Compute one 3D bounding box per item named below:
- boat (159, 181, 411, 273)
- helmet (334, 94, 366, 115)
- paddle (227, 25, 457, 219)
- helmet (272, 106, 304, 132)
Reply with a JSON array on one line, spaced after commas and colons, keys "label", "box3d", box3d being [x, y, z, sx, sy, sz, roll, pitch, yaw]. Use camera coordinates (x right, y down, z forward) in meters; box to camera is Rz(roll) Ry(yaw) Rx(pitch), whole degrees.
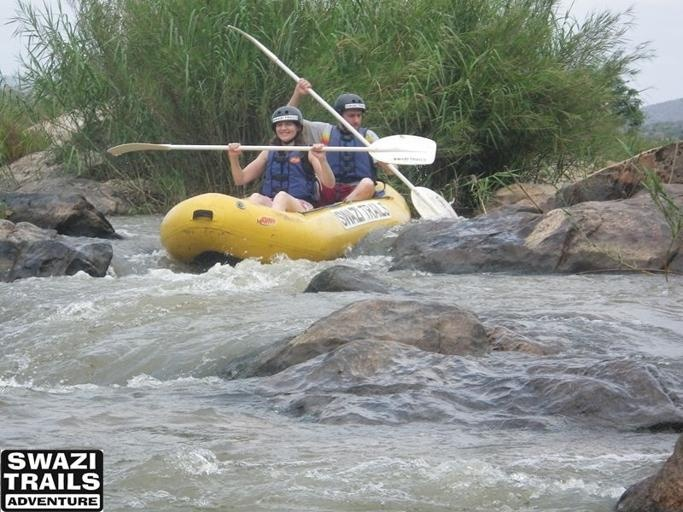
[{"label": "boat", "box3d": [-0.524, -0.431, 10.987, 1.277, 0.515, 2.504, 7, 10, 44]}, {"label": "helmet", "box3d": [0.127, -2.136, 12.679, 0.306, 0.231, 0.404, -8, 17, -42]}, {"label": "paddle", "box3d": [-0.040, -1.969, 13.352, 5.335, 0.816, 0.284, 33, 39, 2]}, {"label": "helmet", "box3d": [-0.685, -1.783, 11.606, 0.380, 0.259, 0.332, -1, 12, -4]}]
